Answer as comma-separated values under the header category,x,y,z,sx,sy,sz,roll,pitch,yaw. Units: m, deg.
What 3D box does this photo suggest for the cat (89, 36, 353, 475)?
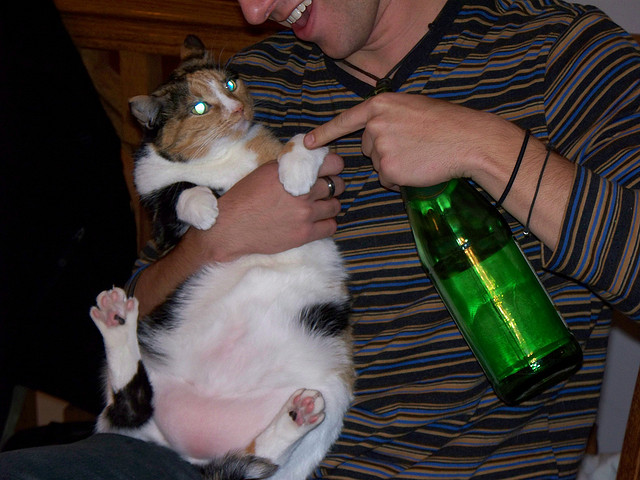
category,x,y,z,sx,sy,sz,roll,pitch,yaw
cat,-0.347,0.109,2.285,0.907,0.581,1.475,-9,71,6
